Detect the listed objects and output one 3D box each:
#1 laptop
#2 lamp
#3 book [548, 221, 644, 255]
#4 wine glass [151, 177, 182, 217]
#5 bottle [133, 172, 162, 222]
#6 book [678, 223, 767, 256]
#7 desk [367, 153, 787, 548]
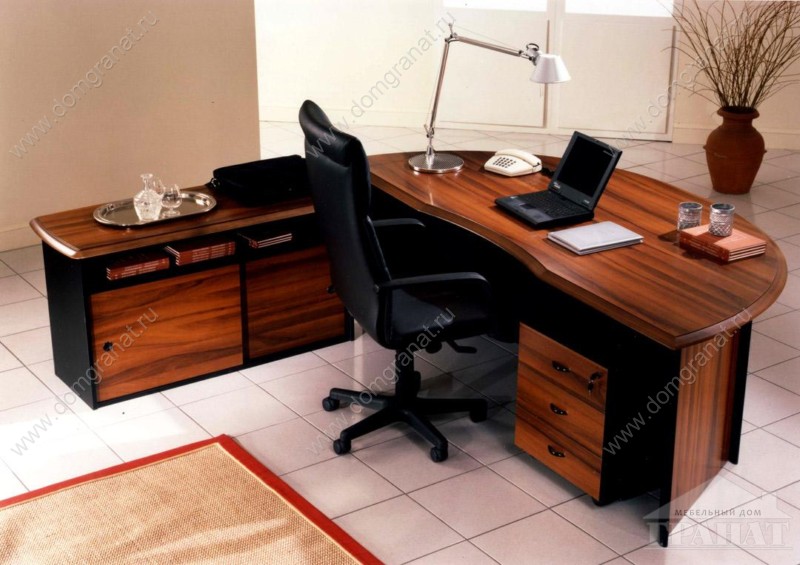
[{"bbox_3d":[0.812,-0.469,3.099,0.655,0.374,0.495,-10,31,-25],"label":"laptop"},{"bbox_3d":[0.495,-1.016,3.572,1.049,0.767,0.334,11,32,32],"label":"lamp"},{"bbox_3d":[0.852,-0.199,2.753,0.266,0.023,0.183,-12,29,-22],"label":"book"},{"bbox_3d":[-1.224,-0.457,3.377,0.171,0.150,0.123,2,13,-13],"label":"wine glass"},{"bbox_3d":[-1.281,-0.439,3.303,0.156,0.220,0.175,20,25,41],"label":"bottle"},{"bbox_3d":[1.395,-0.165,2.665,0.203,0.040,0.204,-12,26,-33],"label":"book"},{"bbox_3d":[0.974,0.250,3.382,1.341,0.968,2.218,-7,17,-18],"label":"desk"}]
